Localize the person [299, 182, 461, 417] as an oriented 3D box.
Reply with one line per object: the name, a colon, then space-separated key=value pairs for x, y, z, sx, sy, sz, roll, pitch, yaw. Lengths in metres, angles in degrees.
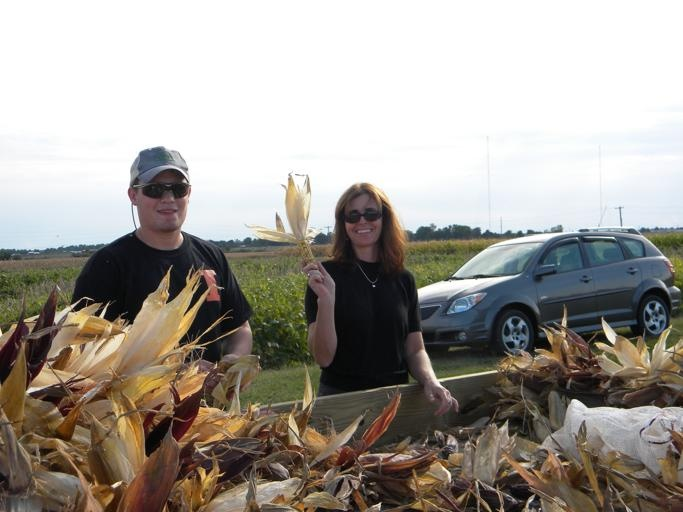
person: x=0.134 y=0.179 z=2.699 sx=0.674 sy=0.827 sz=0.668 roll=-4 pitch=2 yaw=-6

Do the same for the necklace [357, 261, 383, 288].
necklace: x=0.157 y=0.093 z=2.833 sx=0.037 sy=0.136 sz=0.132 roll=-36 pitch=-23 yaw=35

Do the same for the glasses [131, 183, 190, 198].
glasses: x=-0.888 y=-0.325 z=2.469 sx=0.249 sy=0.075 sz=0.081 roll=-5 pitch=2 yaw=-25

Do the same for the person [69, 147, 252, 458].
person: x=-0.830 y=0.241 z=2.499 sx=0.786 sy=1.596 sz=0.984 roll=-5 pitch=-5 yaw=39
